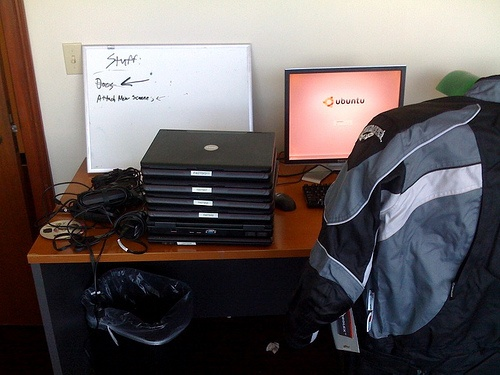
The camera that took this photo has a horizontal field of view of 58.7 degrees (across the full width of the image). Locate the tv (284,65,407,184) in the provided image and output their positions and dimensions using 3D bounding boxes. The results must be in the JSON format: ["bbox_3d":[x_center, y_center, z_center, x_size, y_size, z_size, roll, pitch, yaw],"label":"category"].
[{"bbox_3d":[0.381,-0.280,1.810,0.524,0.491,0.186,-1,26,0],"label":"tv"}]

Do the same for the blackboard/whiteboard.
[{"bbox_3d":[-0.366,-0.381,1.990,0.634,0.455,0.021,-1,15,-1],"label":"blackboard/whiteboard"}]

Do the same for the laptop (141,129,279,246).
[{"bbox_3d":[-0.143,-0.028,1.718,0.440,0.265,0.432,1,24,4],"label":"laptop"}]

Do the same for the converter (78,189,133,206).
[{"bbox_3d":[-0.576,0.035,1.755,0.152,0.036,0.074,-6,33,-12],"label":"converter"}]

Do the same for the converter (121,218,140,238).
[{"bbox_3d":[-0.450,0.153,1.692,0.062,0.068,0.024,6,-15,-3],"label":"converter"}]
